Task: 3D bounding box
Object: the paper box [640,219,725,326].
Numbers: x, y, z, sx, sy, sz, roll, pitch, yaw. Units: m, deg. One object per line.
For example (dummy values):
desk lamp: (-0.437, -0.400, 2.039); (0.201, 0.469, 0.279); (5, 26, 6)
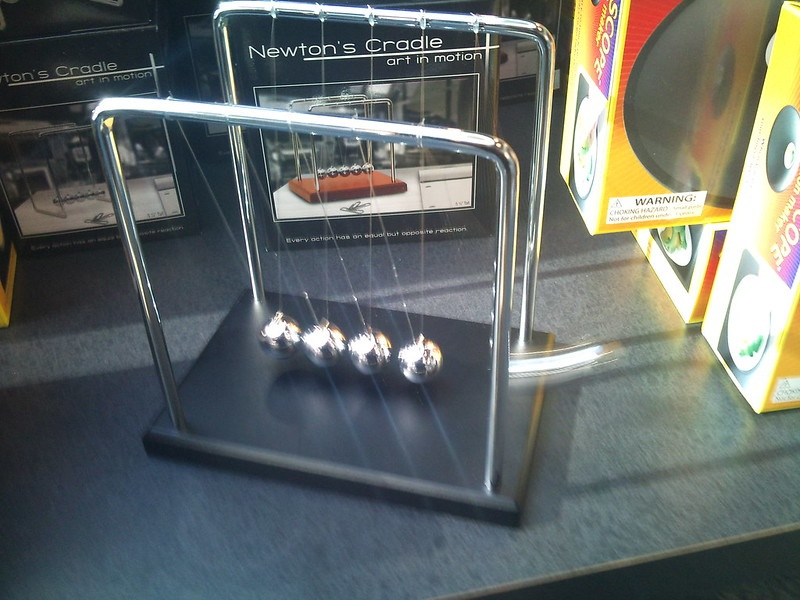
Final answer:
paper box: (0.505, -0.045, 1.081); (0.035, 0.093, 0.146); (-13, 27, -1)
